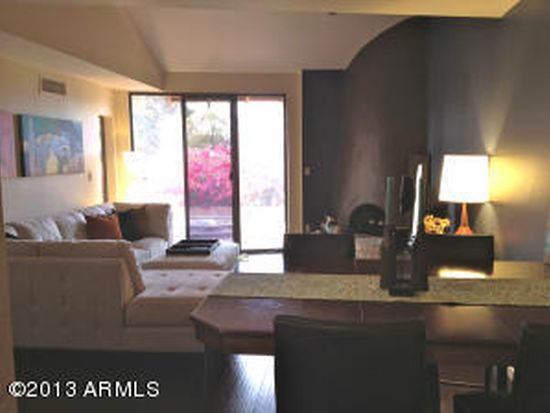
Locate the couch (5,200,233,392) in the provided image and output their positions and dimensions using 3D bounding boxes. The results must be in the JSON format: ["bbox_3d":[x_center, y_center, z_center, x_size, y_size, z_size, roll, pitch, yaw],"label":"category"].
[{"bbox_3d":[-1.333,0.891,3.910,1.318,0.738,1.822,0,6,-1],"label":"couch"}]
